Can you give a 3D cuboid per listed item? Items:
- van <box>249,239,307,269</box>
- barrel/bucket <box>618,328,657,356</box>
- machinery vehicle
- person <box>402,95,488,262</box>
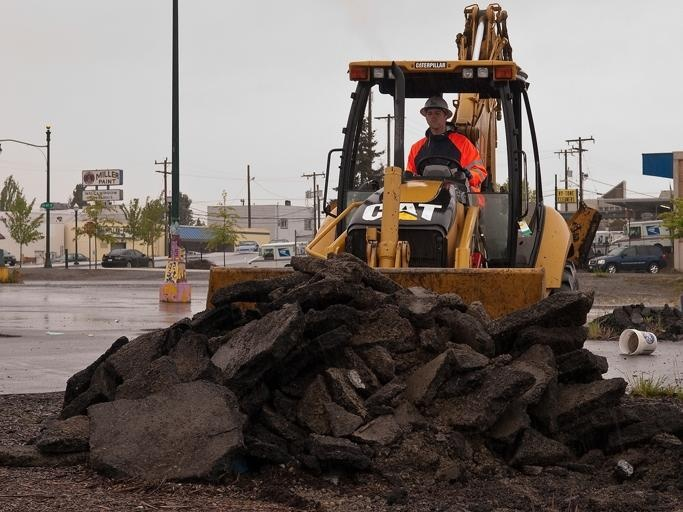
[{"bbox_3d":[-3.311,-0.068,46.795,2.896,1.934,2.154,1,1,6],"label":"van"},{"bbox_3d":[4.031,1.189,12.446,0.475,0.364,0.604,3,0,18],"label":"barrel/bucket"},{"bbox_3d":[1.438,-1.238,13.123,2.831,4.225,6.744,1,0,13],"label":"machinery vehicle"},{"bbox_3d":[1.351,-1.395,12.028,0.983,3.416,1.211,0,0,4],"label":"person"}]
